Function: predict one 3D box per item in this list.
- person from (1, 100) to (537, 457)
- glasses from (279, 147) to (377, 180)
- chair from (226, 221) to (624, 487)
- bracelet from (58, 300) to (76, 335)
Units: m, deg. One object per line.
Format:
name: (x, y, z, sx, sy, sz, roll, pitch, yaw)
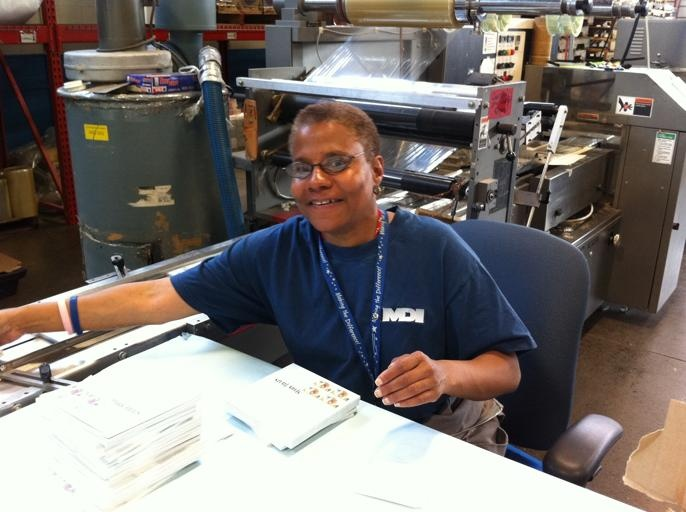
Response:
person: (-0.062, 0.107, 1.812, 1.050, 1.322, 1.182, -8, 9, 38)
glasses: (-0.045, -0.229, 1.315, 0.208, 0.070, 0.056, -1, 25, 0)
chair: (0.266, 0.172, 1.551, 0.730, 1.012, 0.671, 12, 18, 39)
bracelet: (-0.739, 0.158, 1.363, 0.018, 0.068, 0.071, -16, 12, -10)
